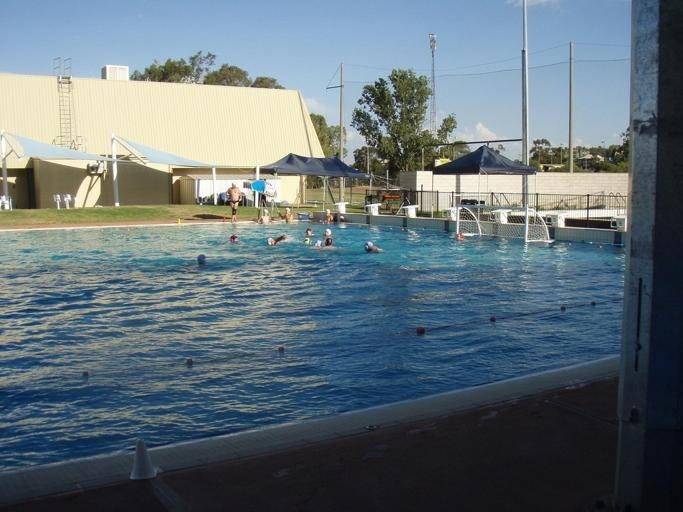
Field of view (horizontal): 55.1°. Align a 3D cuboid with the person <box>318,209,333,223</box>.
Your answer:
[{"bbox_3d":[-0.637,-1.663,27.472,0.511,0.793,0.561,1,0,42],"label":"person"}]

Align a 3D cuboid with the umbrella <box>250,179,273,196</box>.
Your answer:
[{"bbox_3d":[-3.547,-3.063,29.598,1.090,0.668,0.647,-4,8,-16],"label":"umbrella"}]

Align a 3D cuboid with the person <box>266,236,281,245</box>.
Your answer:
[{"bbox_3d":[-2.066,-0.493,20.134,0.429,0.224,0.818,0,8,12],"label":"person"}]

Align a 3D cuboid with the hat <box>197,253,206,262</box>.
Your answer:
[{"bbox_3d":[-3.594,0.036,16.583,0.205,0.259,0.212,0,0,5],"label":"hat"}]

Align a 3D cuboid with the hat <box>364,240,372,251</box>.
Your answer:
[{"bbox_3d":[0.734,-0.268,18.445,0.198,0.281,0.263,-1,8,4],"label":"hat"}]
